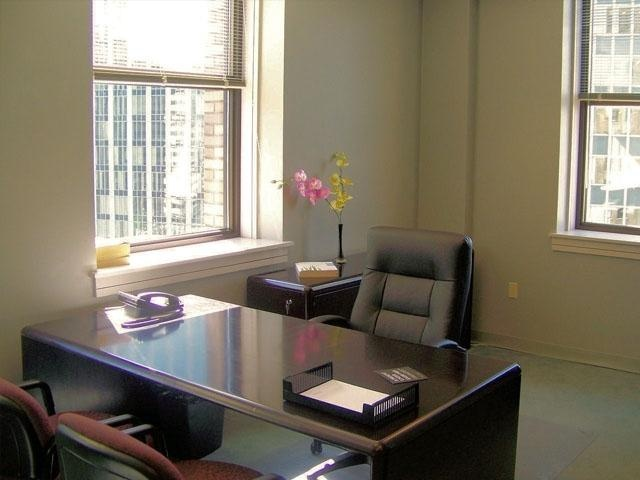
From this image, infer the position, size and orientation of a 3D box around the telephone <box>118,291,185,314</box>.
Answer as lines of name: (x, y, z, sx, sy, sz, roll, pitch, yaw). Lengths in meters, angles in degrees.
telephone: (-0.865, 0.330, 2.797, 0.182, 0.060, 0.154, -3, 5, -44)

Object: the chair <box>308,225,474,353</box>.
chair: (0.552, 0.234, 3.319, 0.690, 0.948, 0.775, 4, 1, 41)

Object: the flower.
flower: (0.047, -0.392, 4.102, 0.417, 0.553, 0.836, 10, 13, 40)
